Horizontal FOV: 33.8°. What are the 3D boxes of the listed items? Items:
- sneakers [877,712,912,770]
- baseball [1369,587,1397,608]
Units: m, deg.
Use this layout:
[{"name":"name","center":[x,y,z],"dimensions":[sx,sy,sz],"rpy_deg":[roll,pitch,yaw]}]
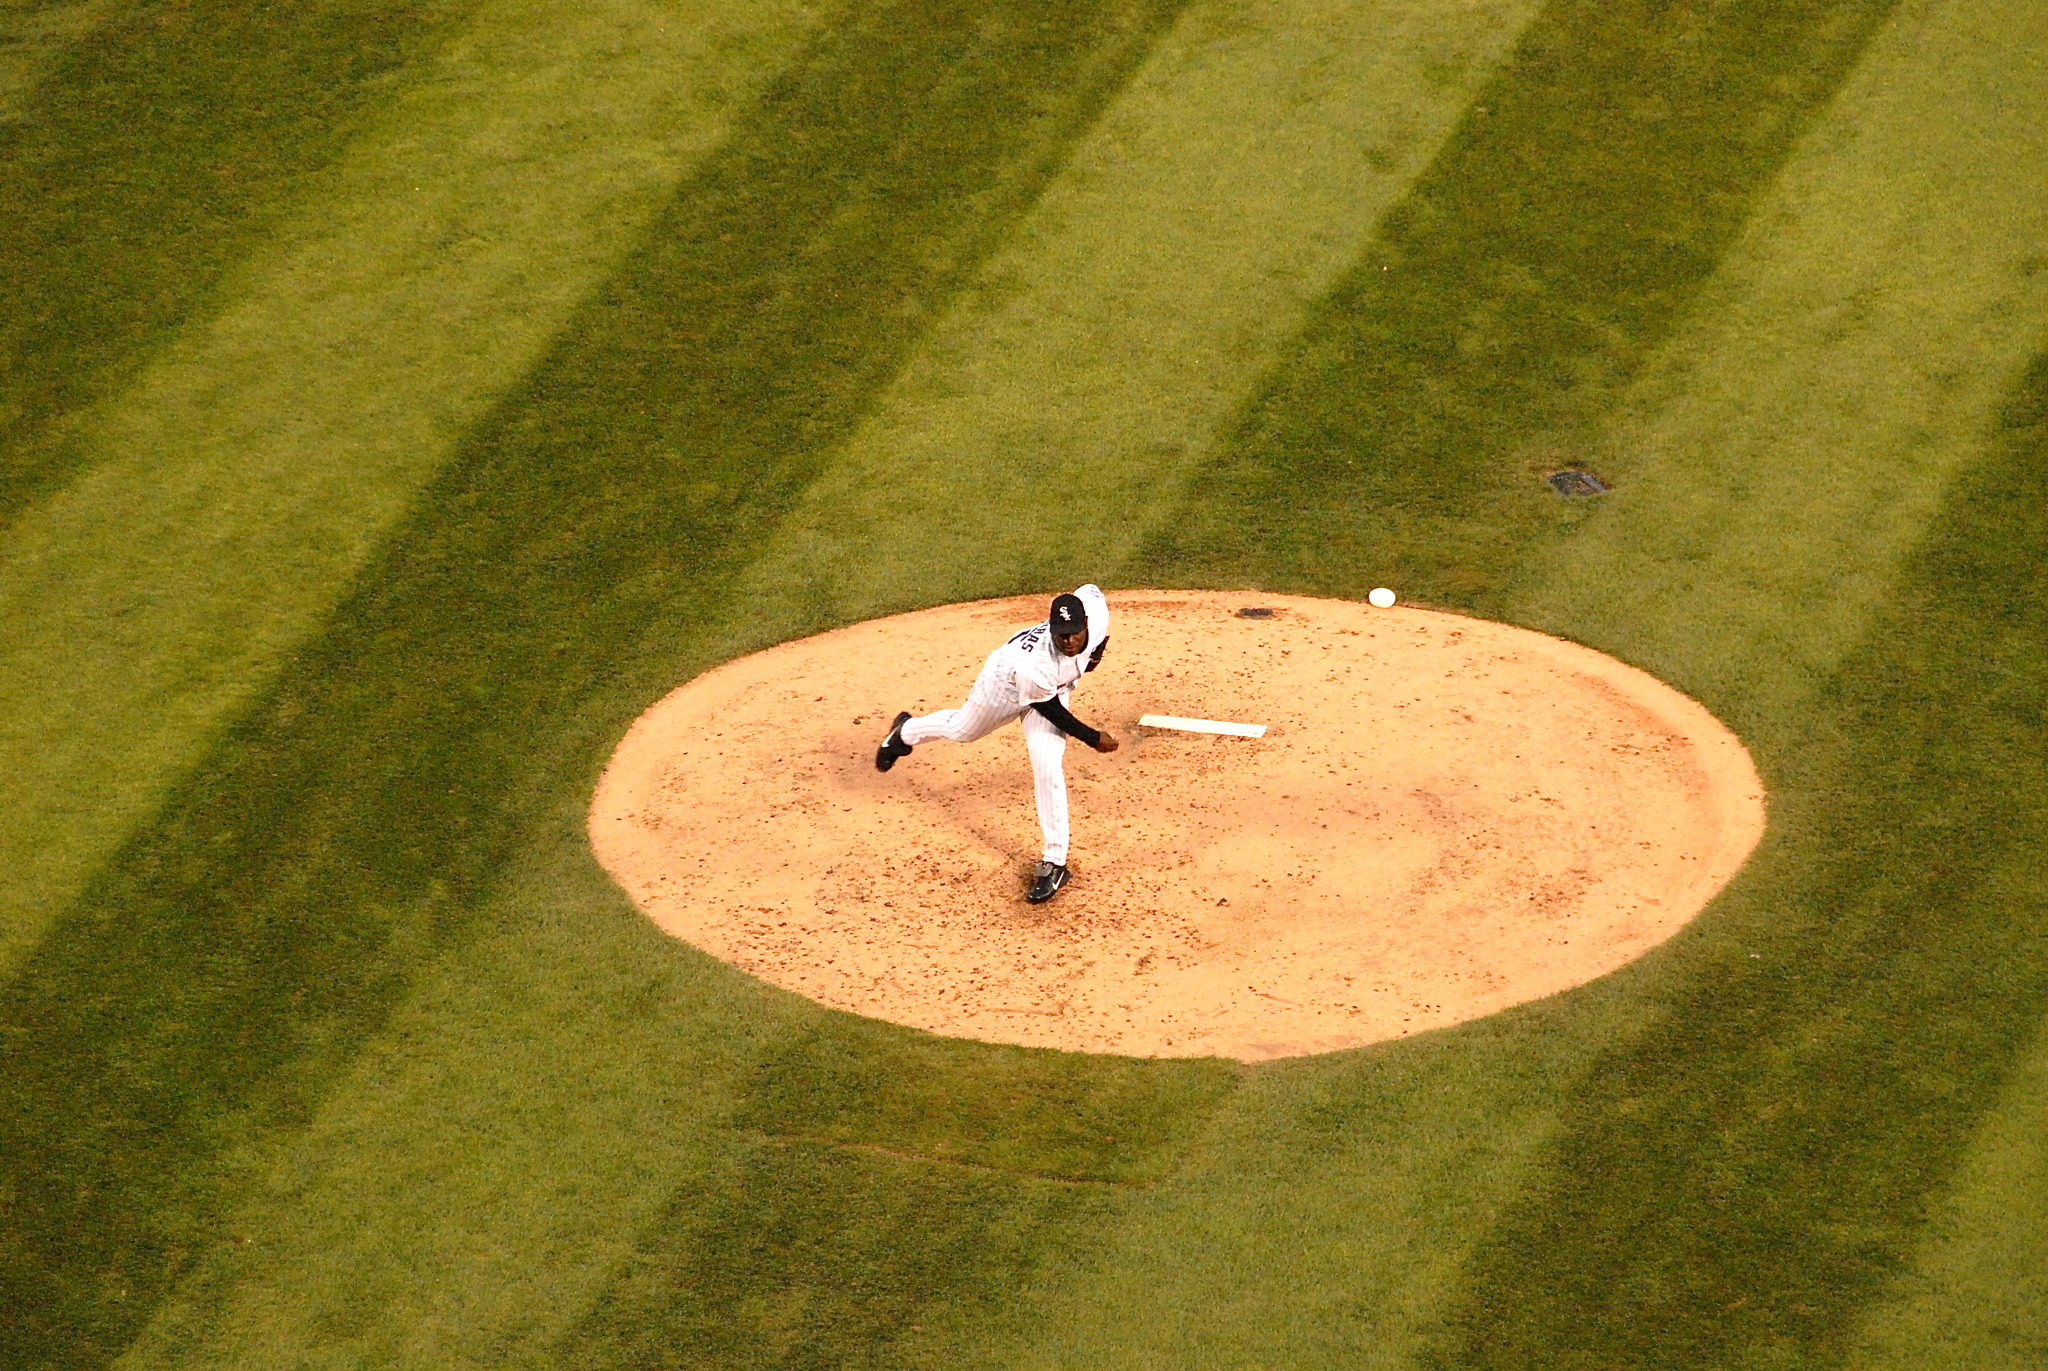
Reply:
[{"name":"sneakers","center":[-1.215,0.552,31.597],"dimensions":[0.264,0.226,0.567],"rpy_deg":[26,97,-1]},{"name":"baseball","center":[3.530,-0.818,32.983],"dimensions":[0.265,0.091,0.211],"rpy_deg":[-2,82,0]}]
